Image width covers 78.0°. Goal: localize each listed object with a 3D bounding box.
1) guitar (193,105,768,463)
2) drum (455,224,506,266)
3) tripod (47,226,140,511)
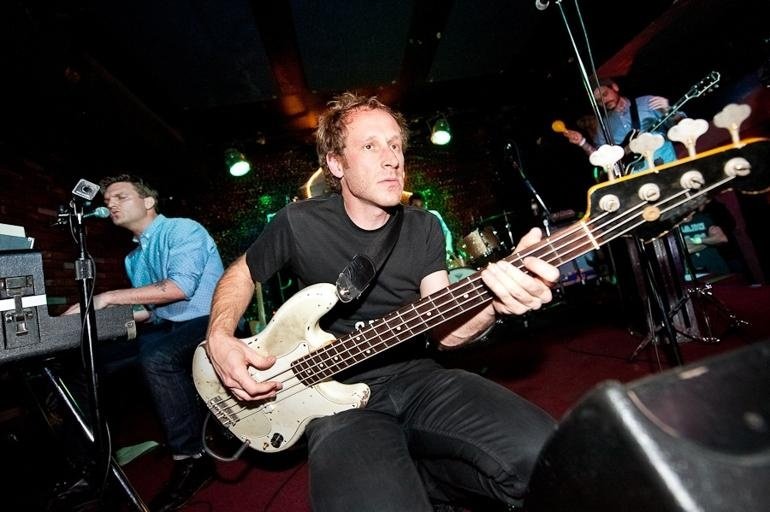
[{"bbox_3d":[0.910,0.181,4.378,4.764,1.298,0.789,-29,-9,9],"label":"guitar"},{"bbox_3d":[1.405,-0.118,6.892,0.583,0.416,0.487,-18,-39,-35],"label":"drum"},{"bbox_3d":[-2.148,0.827,3.702,0.760,2.058,0.301,-15,-8,2],"label":"tripod"}]
